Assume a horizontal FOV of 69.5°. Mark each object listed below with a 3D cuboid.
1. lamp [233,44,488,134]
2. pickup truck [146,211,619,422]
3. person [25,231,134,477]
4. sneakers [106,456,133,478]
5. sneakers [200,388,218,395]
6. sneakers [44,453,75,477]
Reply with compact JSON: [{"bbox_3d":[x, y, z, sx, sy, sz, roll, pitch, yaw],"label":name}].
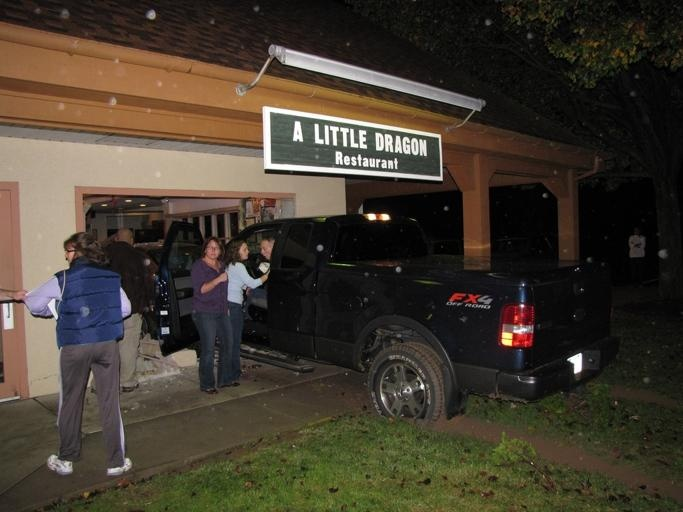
[{"bbox_3d":[0.841,-2.371,7.129,4.370,0.489,1.281,0,-15,-28],"label":"lamp"},{"bbox_3d":[0.805,0.611,6.904,5.177,2.399,2.105,3,7,40],"label":"pickup truck"},{"bbox_3d":[-2.654,1.017,5.065,0.817,2.492,0.419,-2,5,-14],"label":"person"},{"bbox_3d":[-2.283,2.189,5.127,0.111,0.147,0.312,7,10,25],"label":"sneakers"},{"bbox_3d":[-1.944,1.962,7.174,0.228,0.102,0.094,-4,-6,22],"label":"sneakers"},{"bbox_3d":[-2.948,2.168,5.187,0.347,0.177,0.141,21,8,24],"label":"sneakers"}]
